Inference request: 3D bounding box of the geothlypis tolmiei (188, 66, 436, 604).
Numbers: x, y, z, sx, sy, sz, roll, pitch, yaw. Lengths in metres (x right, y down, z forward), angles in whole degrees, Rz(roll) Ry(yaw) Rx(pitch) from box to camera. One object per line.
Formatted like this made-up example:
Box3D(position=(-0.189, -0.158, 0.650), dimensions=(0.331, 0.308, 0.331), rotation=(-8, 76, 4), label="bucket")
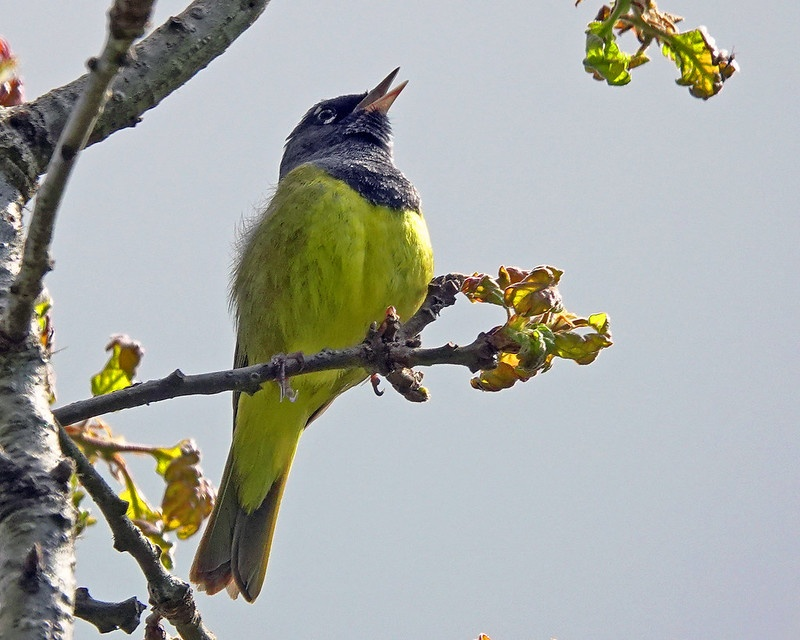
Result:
Box3D(position=(-0.372, 0.084, 5.958), dimensions=(0.580, 1.077, 1.817), rotation=(24, -79, -21), label="geothlypis tolmiei")
